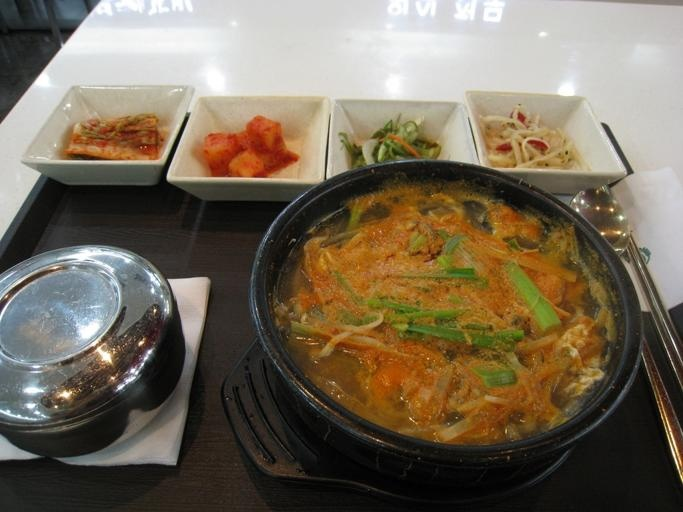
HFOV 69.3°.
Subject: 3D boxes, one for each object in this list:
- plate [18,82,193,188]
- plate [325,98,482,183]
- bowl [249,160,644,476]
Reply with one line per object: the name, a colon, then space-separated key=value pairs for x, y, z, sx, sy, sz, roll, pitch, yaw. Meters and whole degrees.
plate: x=-0.980 y=-0.536 z=2.183 sx=0.584 sy=0.175 sz=0.526 roll=1 pitch=53 yaw=0
plate: x=0.268 y=-0.548 z=2.393 sx=0.510 sy=0.121 sz=0.441 roll=2 pitch=62 yaw=1
bowl: x=0.291 y=0.157 z=1.480 sx=1.090 sy=0.376 sz=0.880 roll=0 pitch=53 yaw=-1
